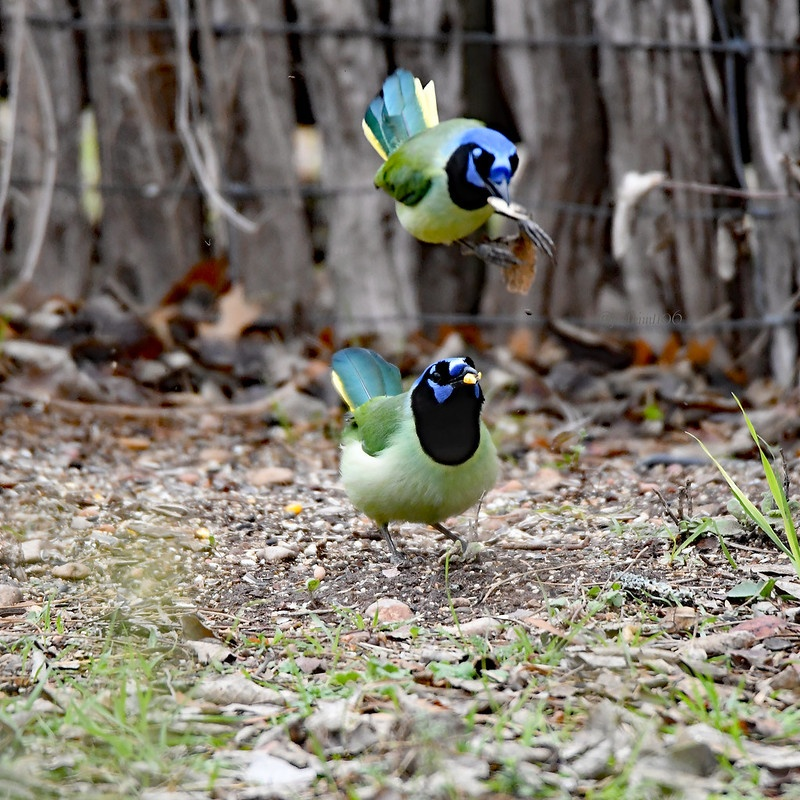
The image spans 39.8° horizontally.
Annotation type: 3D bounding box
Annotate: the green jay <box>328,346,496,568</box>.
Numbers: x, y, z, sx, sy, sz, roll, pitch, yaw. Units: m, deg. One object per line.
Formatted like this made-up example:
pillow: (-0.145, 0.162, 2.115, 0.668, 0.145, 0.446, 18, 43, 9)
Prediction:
green jay: (0.052, 0.147, 3.663, 0.565, 0.623, 1.042, -4, 6, -21)
